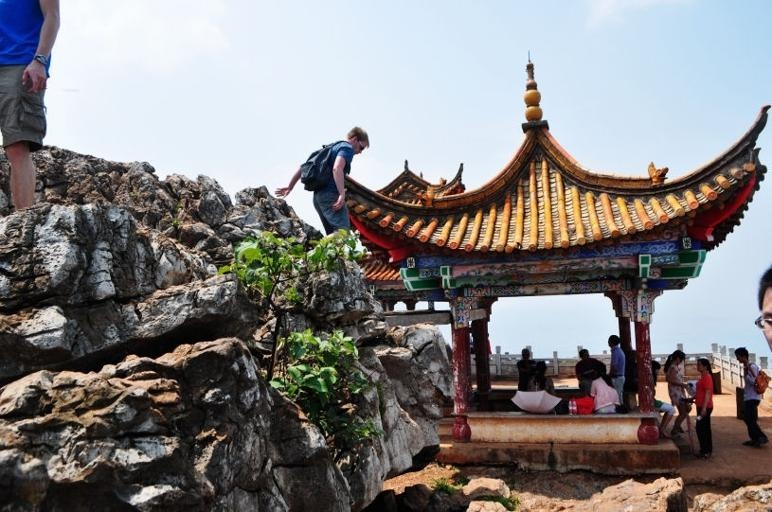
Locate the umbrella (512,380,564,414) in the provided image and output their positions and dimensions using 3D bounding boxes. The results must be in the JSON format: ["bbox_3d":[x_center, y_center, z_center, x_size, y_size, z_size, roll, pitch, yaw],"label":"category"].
[{"bbox_3d":[3.131,3.013,16.892,0.971,0.563,0.683,-2,1,0],"label":"umbrella"}]

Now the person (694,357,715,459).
[{"bbox_3d":[6.600,3.122,16.986,0.351,1.977,0.778,-1,1,20],"label":"person"}]

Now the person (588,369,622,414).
[{"bbox_3d":[4.414,2.734,16.533,0.487,0.827,0.464,-1,1,14],"label":"person"}]
